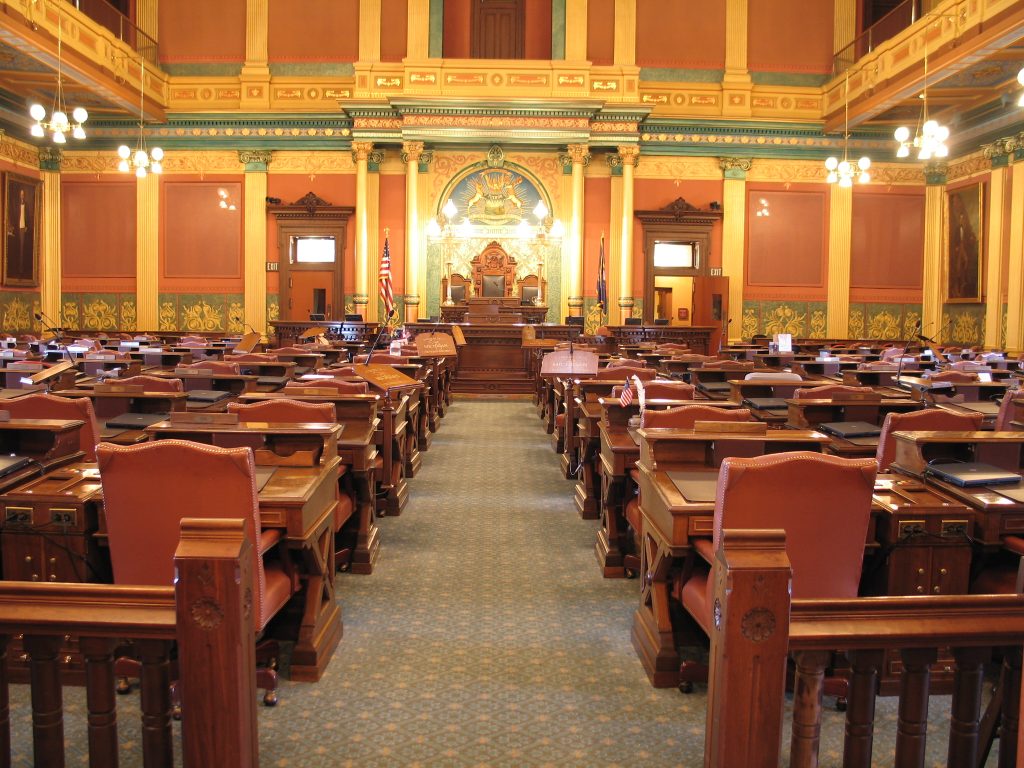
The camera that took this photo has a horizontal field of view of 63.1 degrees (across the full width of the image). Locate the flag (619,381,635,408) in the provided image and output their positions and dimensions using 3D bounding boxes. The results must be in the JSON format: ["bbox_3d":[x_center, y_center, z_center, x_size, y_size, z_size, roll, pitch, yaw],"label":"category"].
[{"bbox_3d":[0.829,0.086,6.073,0.164,0.085,0.249,1,12,8],"label":"flag"}]

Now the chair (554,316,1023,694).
[{"bbox_3d":[1.783,0.848,5.090,2.195,1.371,2.392,0,5,-4],"label":"chair"}]

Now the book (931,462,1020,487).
[{"bbox_3d":[2.414,0.483,4.437,0.311,0.087,0.405,-1,5,-15],"label":"book"}]

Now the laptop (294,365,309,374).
[{"bbox_3d":[-2.450,-0.156,9.786,0.196,0.053,0.184,1,3,-9],"label":"laptop"}]
